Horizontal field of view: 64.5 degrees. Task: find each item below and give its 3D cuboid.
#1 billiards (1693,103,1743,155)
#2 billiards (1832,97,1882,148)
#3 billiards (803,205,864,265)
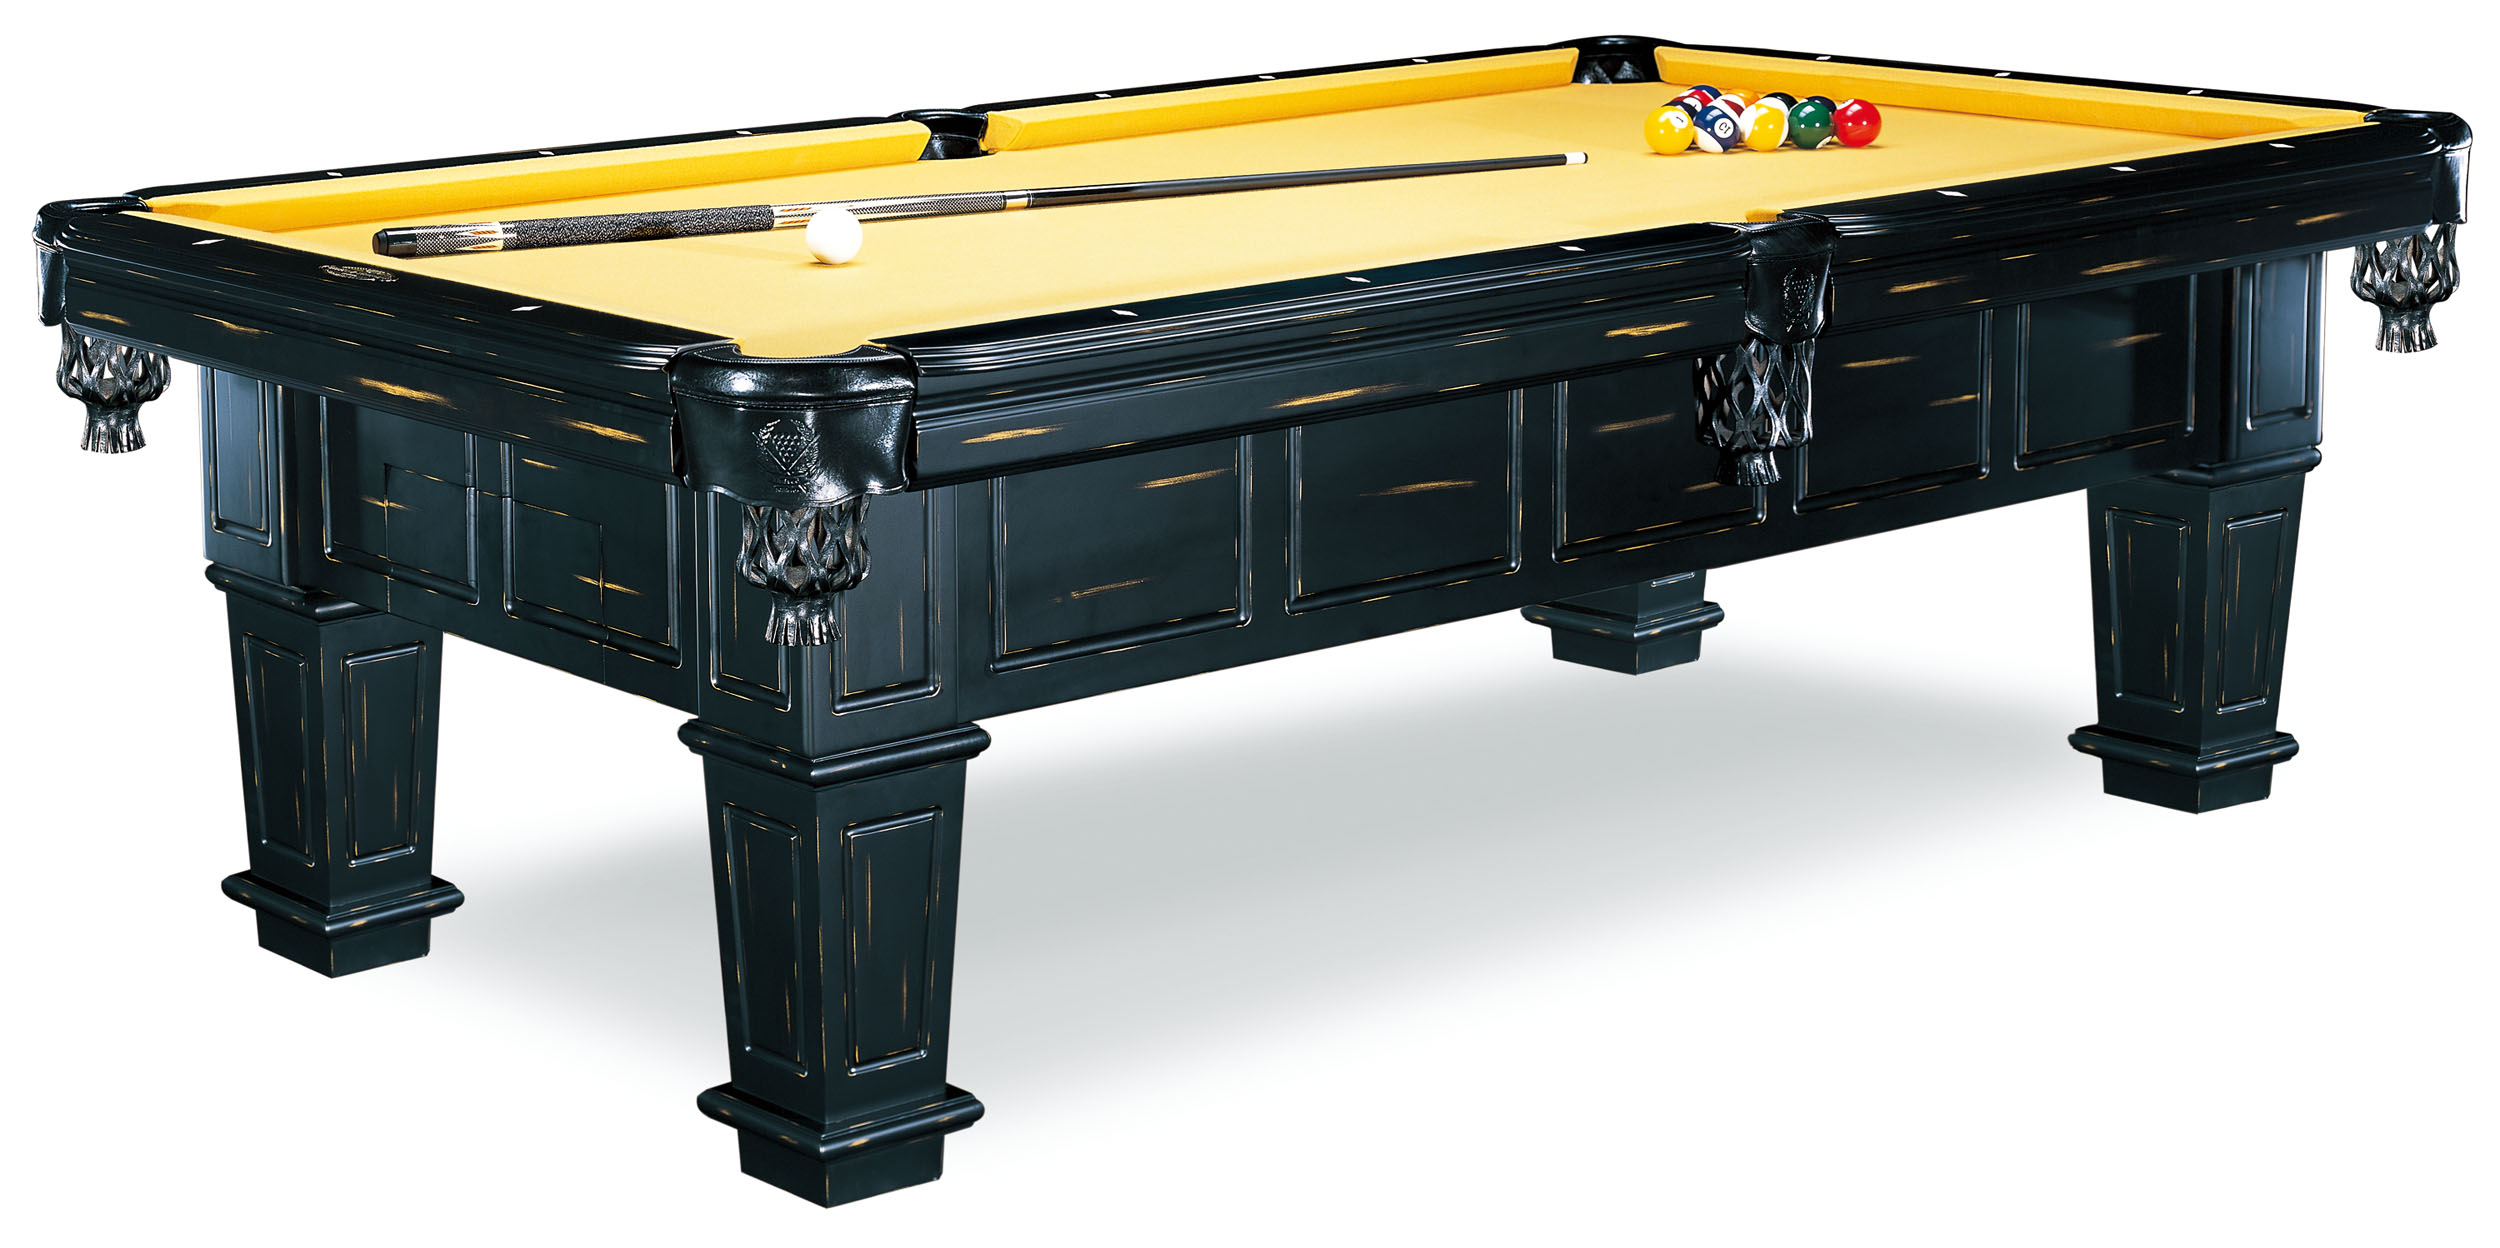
[{"bbox_3d":[1.273,-1.357,5.416,0.122,0.096,0.119,29,-35,-11],"label":"billiards"},{"bbox_3d":[1.683,-1.392,5.503,0.186,0.150,0.136,1,-79,14],"label":"billiards"},{"bbox_3d":[-0.926,-0.867,4.417,0.111,0.142,0.120,8,-52,-8],"label":"billiards"}]
